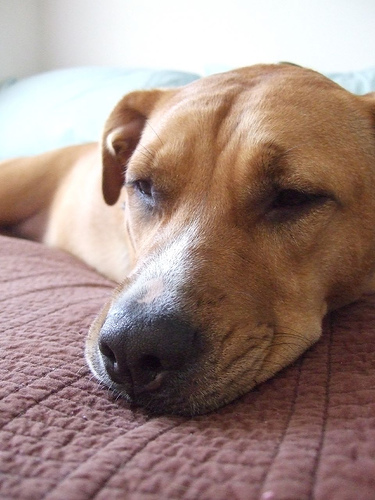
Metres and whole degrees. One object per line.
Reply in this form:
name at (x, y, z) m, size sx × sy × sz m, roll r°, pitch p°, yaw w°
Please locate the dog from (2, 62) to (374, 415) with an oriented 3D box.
dog at (-0.100, -0.092, 1.872) m, size 1.098 × 0.465 × 1.483 m, roll -2°, pitch 13°, yaw -21°
